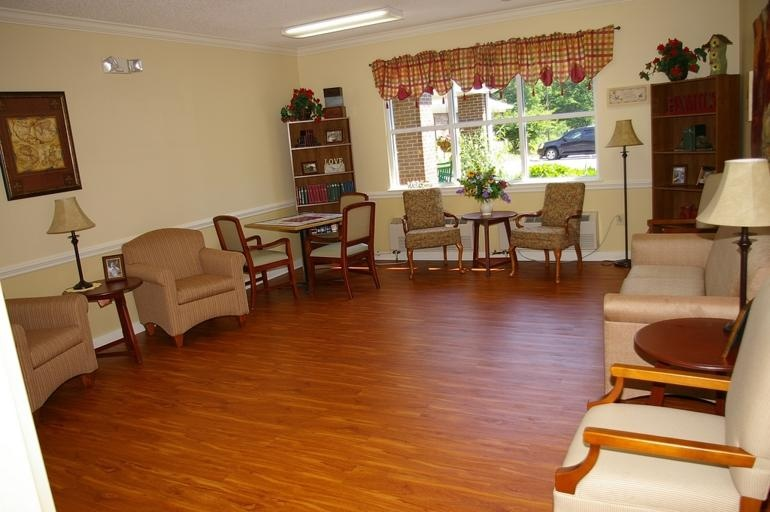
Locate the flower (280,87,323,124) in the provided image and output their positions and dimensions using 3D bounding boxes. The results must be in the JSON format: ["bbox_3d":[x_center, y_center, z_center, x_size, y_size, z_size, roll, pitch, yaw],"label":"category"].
[{"bbox_3d":[-1.271,-2.280,8.200,0.610,0.399,0.586,3,15,17],"label":"flower"}]

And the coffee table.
[{"bbox_3d":[1.950,0.578,3.435,0.711,0.375,0.682,3,23,21],"label":"coffee table"}]

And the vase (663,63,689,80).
[{"bbox_3d":[3.562,-2.229,6.484,0.234,0.181,0.171,-11,14,-26],"label":"vase"}]

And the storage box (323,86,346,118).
[{"bbox_3d":[-0.828,-2.454,8.527,0.337,0.475,0.288,-6,13,-1],"label":"storage box"}]

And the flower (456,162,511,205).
[{"bbox_3d":[1.461,-1.037,7.655,0.717,0.596,0.742,-7,14,-10],"label":"flower"}]

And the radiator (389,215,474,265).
[{"bbox_3d":[0.839,-0.283,8.493,1.751,0.642,0.456,-2,-18,36],"label":"radiator"}]

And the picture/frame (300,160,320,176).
[{"bbox_3d":[-1.213,-1.403,8.545,0.325,0.289,0.030,0,-7,-4],"label":"picture/frame"}]

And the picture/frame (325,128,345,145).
[{"bbox_3d":[-0.795,-1.912,8.501,0.328,0.252,0.041,0,-2,3],"label":"picture/frame"}]

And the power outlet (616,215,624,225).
[{"bbox_3d":[3.328,-0.509,7.510,0.142,0.132,0.073,-1,1,38],"label":"power outlet"}]

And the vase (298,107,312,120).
[{"bbox_3d":[-1.225,-2.190,8.181,0.183,0.151,0.284,5,9,-4],"label":"vase"}]

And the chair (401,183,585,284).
[{"bbox_3d":[1.996,-0.371,7.387,1.444,1.191,1.116,0,14,21],"label":"chair"}]

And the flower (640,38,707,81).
[{"bbox_3d":[3.645,-2.468,6.658,0.641,0.387,0.626,-20,5,23],"label":"flower"}]
